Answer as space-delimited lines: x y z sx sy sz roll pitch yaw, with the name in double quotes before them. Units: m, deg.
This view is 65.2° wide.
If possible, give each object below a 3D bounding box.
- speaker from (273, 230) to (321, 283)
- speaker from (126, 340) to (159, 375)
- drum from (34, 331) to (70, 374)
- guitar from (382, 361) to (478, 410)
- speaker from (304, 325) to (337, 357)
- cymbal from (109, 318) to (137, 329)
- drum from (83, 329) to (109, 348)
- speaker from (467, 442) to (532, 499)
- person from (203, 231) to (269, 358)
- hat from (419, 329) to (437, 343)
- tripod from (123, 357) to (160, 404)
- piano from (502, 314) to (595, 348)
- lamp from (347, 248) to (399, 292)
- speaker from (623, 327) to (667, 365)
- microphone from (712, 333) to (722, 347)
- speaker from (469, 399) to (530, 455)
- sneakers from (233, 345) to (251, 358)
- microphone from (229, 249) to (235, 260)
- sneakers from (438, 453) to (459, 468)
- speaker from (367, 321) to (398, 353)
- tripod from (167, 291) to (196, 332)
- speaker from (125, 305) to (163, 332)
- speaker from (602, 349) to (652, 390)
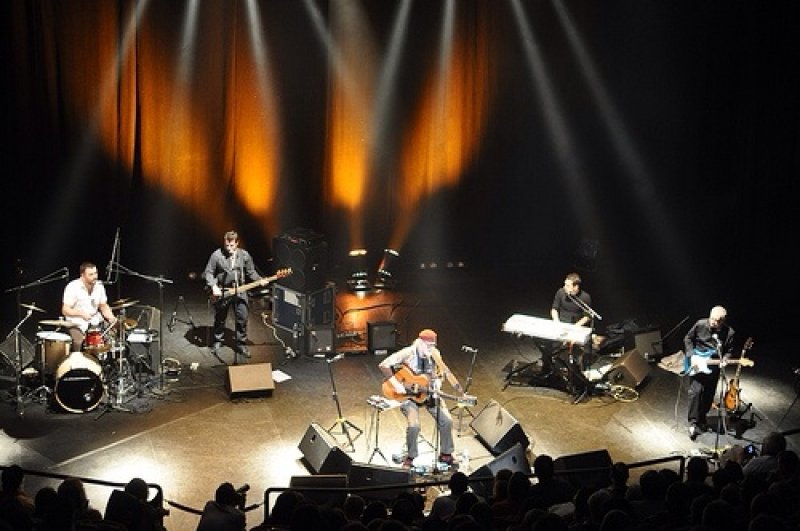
"speaker" -2.030 -0.169 12.500 0.911 0.891 0.501 11 13 41
"speaker" -4.576 1.597 11.380 0.587 0.773 0.560 0 19 -9
"drum" -5.644 1.438 10.495 0.635 0.610 0.649 14 6 41
"guitar" 0.404 1.882 9.608 1.479 0.556 0.217 16 3 9
"speaker" -1.618 1.426 12.664 0.784 0.711 0.560 -1 3 -18
"cymbal" -4.585 0.973 10.505 0.230 0.143 0.379 -2 -3 40
"drum" -4.926 1.192 10.255 0.326 0.294 0.286 2 -3 -30
"speaker" 1.280 2.799 8.507 0.708 0.722 0.747 19 6 23
"person" -3.326 0.596 12.425 0.997 2.395 1.212 1 -2 -14
"hat" 0.398 1.051 9.488 0.258 0.152 0.212 5 1 11
"tripod" -4.691 2.097 11.076 0.798 0.738 0.709 3 16 -11
"piano" 2.607 1.136 11.202 1.149 0.177 0.682 10 22 25
"lamp" -0.741 0.223 16.423 1.870 1.244 0.980 -1 0 -20
"speaker" 4.972 1.593 12.711 0.887 0.564 0.825 -2 1 5
"microphone" 5.064 1.215 10.122 0.121 0.219 0.309 -1 -3 30
"speaker" 1.678 2.400 10.052 0.812 0.779 0.907 4 11 -25
"sneakers" -3.084 1.685 12.413 0.168 0.145 0.338 -5 10 -44
"microphone" -3.205 -0.215 12.047 0.118 0.143 0.149 2 -2 1
"sneakers" 0.726 2.944 9.520 0.290 0.122 0.150 16 32 12
"speaker" -0.369 1.450 12.941 0.610 0.588 0.619 -1 3 -11
"tripod" -4.857 1.073 13.969 0.740 0.770 0.731 1 0 -5
"speaker" -4.780 0.988 11.745 0.580 0.570 0.584 8 11 4
"speaker" 4.188 1.898 11.726 0.730 0.396 0.717 14 35 32
